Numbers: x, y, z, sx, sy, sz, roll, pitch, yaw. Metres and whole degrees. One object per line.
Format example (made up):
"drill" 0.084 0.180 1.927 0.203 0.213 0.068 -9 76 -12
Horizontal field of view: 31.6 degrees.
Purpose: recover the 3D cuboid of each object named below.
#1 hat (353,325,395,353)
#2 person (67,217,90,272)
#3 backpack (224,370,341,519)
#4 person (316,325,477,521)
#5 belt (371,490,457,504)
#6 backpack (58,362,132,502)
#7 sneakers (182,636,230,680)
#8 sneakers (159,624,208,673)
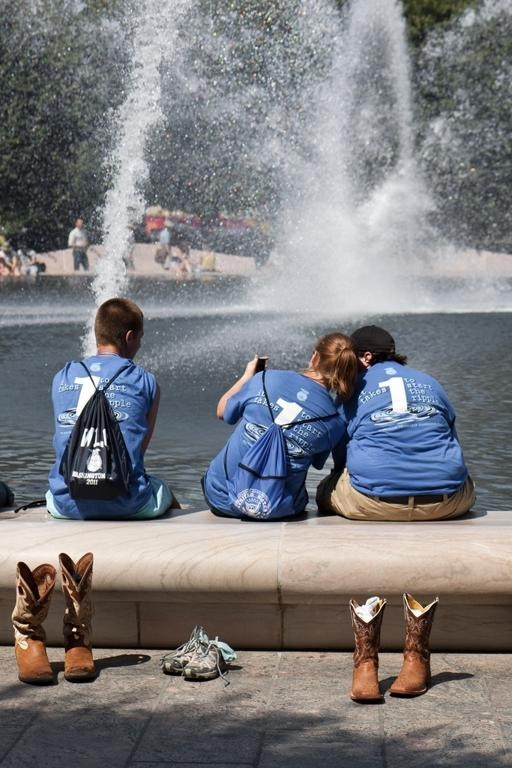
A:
"hat" 0.508 -0.193 4.010 0.196 0.100 0.150 18 13 34
"person" -7.750 -6.081 39.764 0.860 2.260 1.061 -2 10 -11
"backpack" 0.097 0.229 3.658 0.541 0.596 0.255 12 -23 8
"person" 0.588 0.151 3.977 0.765 0.787 0.731 -6 -1 33
"belt" 0.642 0.464 3.620 0.294 0.047 0.042 1 9 3
"backpack" -0.610 0.243 3.486 0.224 0.412 0.155 -1 10 -5
"sneakers" -0.151 0.916 2.978 0.083 0.063 0.179 -3 -6 17
"sneakers" -0.217 0.909 3.041 0.104 0.107 0.292 1 -6 23
